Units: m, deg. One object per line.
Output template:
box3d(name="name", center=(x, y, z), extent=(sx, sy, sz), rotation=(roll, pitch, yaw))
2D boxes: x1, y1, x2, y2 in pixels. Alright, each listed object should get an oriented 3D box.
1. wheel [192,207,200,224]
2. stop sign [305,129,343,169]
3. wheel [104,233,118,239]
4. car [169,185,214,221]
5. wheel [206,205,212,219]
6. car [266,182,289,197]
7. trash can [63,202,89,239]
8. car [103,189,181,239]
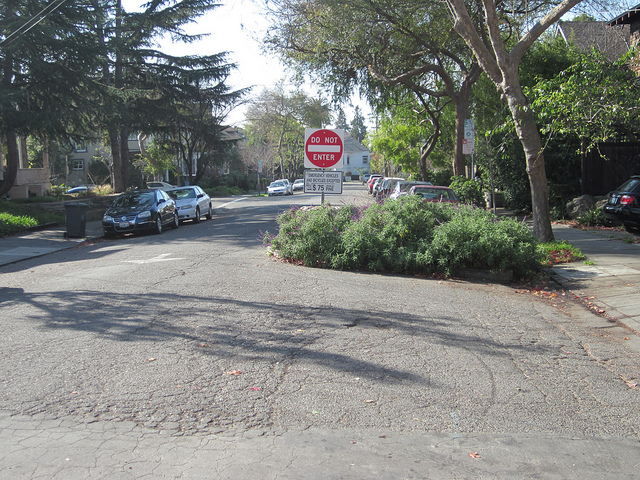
box3d(name="wheel", center=(-5.717, -1.171, 25.860), extent=(0.246, 0.751, 0.716), rotation=(1, -3, 3))
box3d(name="stop sign", center=(0.110, -2.419, 14.688), extent=(0.888, 0.938, 0.127), rotation=(4, 2, 10))
box3d(name="wheel", center=(-7.809, -0.175, 20.965), extent=(0.469, 0.208, 0.798), rotation=(-3, 11, -22))
box3d(name="car", center=(-6.072, -1.751, 26.637), extent=(1.132, 0.917, 2.596), rotation=(-1, 1, 6))
box3d(name="wheel", center=(-5.531, -1.393, 27.842), extent=(0.229, 0.709, 0.678), rotation=(0, -2, 9))
box3d(name="car", center=(-4.027, -4.827, 53.251), extent=(1.526, 1.144, 2.671), rotation=(6, 11, 31))
box3d(name="trash can", center=(-8.951, -0.724, 20.252), extent=(0.969, 1.532, 0.828), rotation=(-2, 7, -4))
box3d(name="car", center=(-7.059, -1.068, 21.910), extent=(2.113, 1.669, 2.801), rotation=(1, 10, 1))
